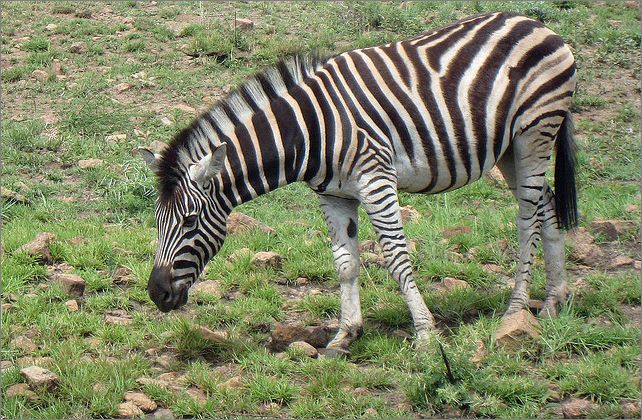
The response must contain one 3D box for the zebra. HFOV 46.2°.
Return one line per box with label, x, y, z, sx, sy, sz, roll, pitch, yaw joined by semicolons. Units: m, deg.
zebra;0.740;-0.044;9.309;5.611;4.013;1.657;-11;10;-15
